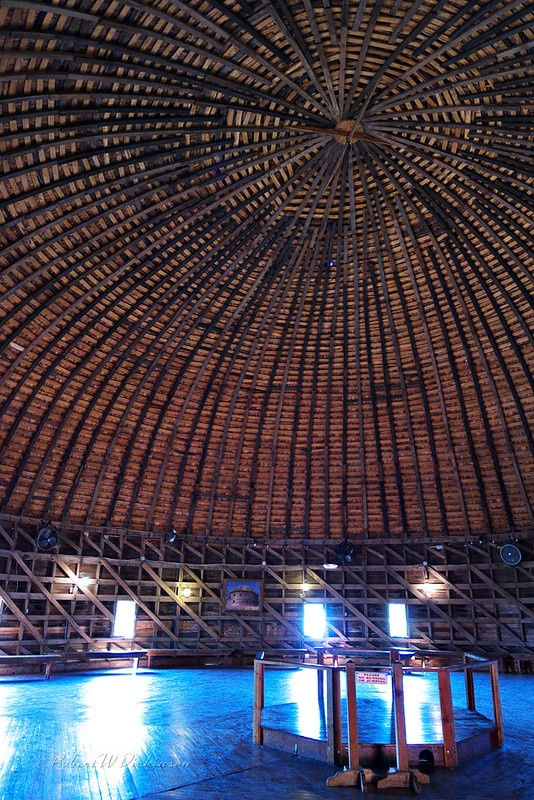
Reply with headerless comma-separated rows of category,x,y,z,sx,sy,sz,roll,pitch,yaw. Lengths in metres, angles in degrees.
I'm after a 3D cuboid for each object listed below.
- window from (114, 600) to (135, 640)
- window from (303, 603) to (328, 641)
window,-4.772,7.369,19.591,0.928,1.659,0.175,17,-36,-36
window,1.717,7.880,20.753,1.125,1.599,0.171,1,-32,-2
